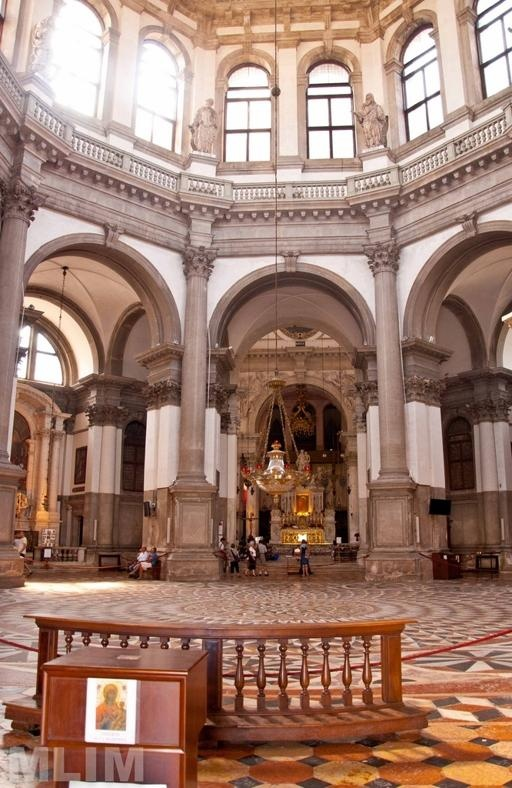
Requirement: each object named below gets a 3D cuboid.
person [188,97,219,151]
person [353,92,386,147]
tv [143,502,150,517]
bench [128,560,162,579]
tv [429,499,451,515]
[{"bbox_3d":[-1.513,-7.549,16.428,0.768,1.487,0.757,-1,-12,-7],"label":"person"},{"bbox_3d":[3.263,-7.469,16.060,0.589,1.458,0.898,-11,-14,36],"label":"person"},{"bbox_3d":[-2.802,2.975,14.847,0.337,0.341,0.085,0,-5,44],"label":"tv"},{"bbox_3d":[-2.698,4.308,14.235,0.490,0.477,0.891,5,-13,-30],"label":"bench"},{"bbox_3d":[4.593,2.817,14.380,0.294,0.434,0.724,-13,-15,43],"label":"tv"}]
